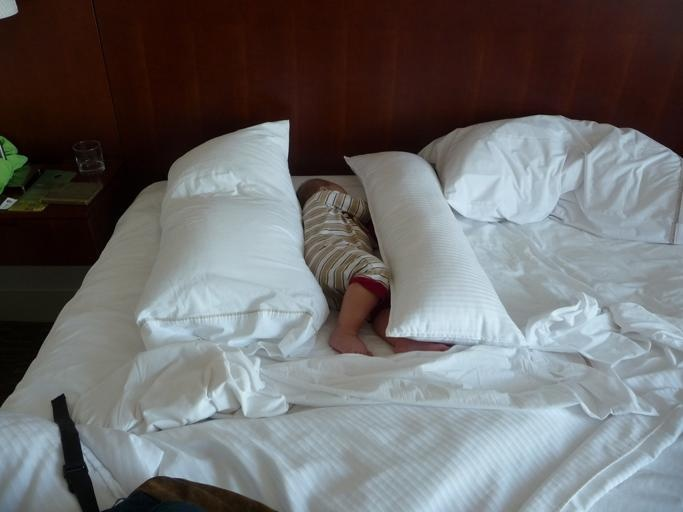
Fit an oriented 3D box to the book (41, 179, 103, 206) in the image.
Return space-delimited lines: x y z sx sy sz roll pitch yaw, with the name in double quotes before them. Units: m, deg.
"book" -1.051 -0.262 2.073 0.120 0.026 0.125 0 32 2
